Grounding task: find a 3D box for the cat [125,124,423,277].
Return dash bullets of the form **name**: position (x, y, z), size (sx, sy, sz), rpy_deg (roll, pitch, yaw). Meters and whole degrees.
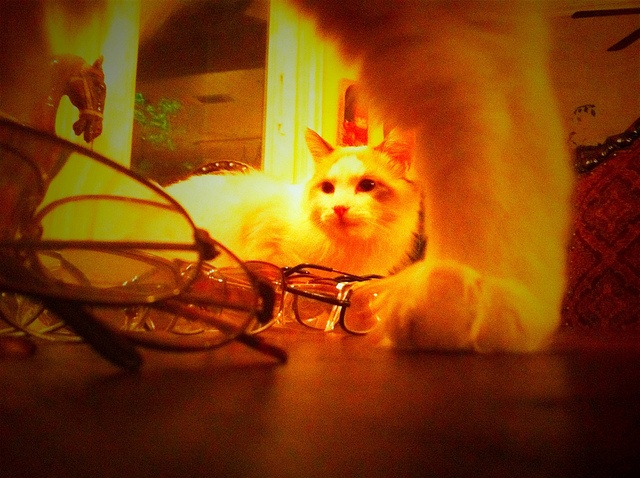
- **cat**: position (-0.079, -0.062, 1.469), size (0.583, 0.417, 0.360), rpy_deg (11, -19, 21)
